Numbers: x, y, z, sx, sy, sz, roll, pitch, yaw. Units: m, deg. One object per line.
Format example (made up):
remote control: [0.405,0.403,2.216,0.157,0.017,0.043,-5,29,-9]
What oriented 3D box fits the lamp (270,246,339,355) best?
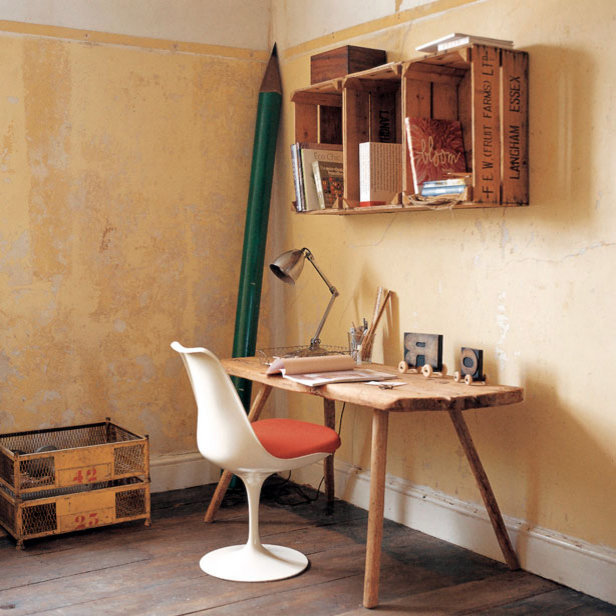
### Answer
lamp: [-0.002,-0.055,3.184,0.269,0.476,0.592,0,2,5]

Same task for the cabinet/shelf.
cabinet/shelf: [0.336,-0.652,2.693,0.283,0.546,1.019,-11,12,-34]

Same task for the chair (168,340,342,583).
chair: [-0.225,0.542,2.789,0.762,1.050,0.639,-2,3,-29]

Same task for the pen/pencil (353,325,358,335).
pen/pencil: [0.201,0.094,2.985,0.013,0.030,0.017,-1,-9,2]
